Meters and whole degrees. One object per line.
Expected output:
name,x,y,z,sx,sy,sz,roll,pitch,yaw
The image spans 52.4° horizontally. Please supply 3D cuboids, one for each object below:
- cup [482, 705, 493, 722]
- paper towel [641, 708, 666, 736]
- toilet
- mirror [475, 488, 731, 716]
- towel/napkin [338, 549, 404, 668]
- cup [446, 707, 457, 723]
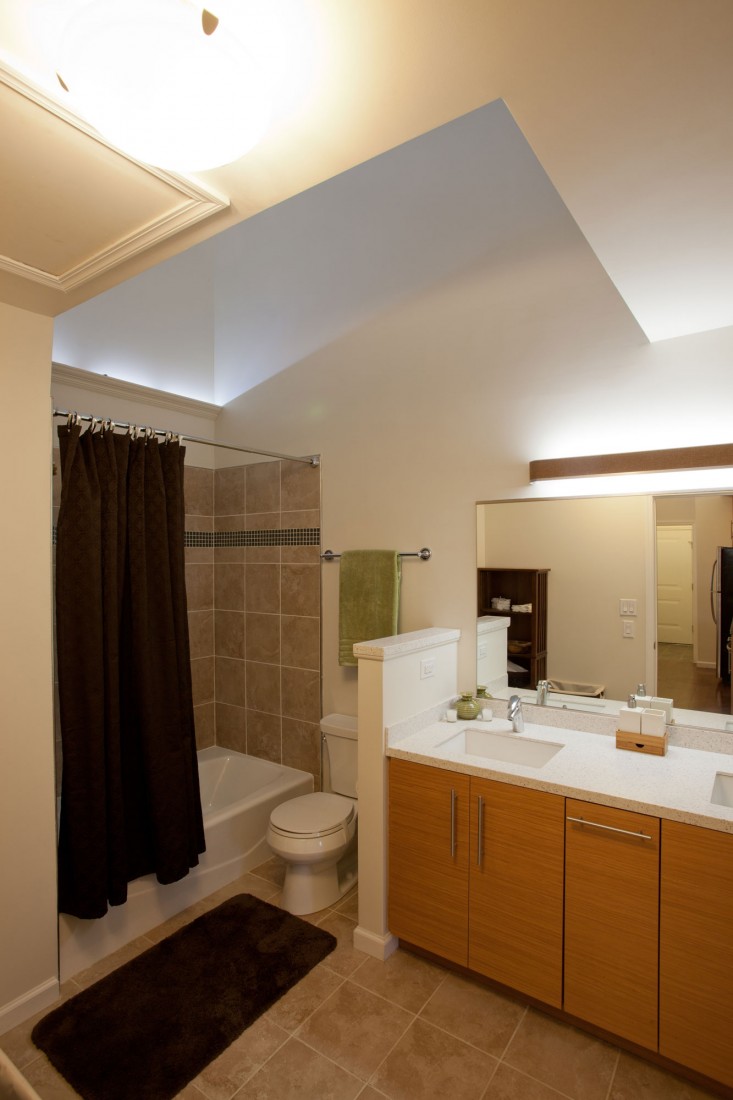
cup,0.443,0.603,2.727,0.034,0.040,0.037,0,-2,0
paper towel,0.899,0.549,2.375,0.062,0.104,0.063,5,-4,-32
toilet,-0.158,1.015,2.915,0.283,0.623,0.508,2,5,38
mirror,0.840,0.178,2.536,0.682,0.814,0.034,3,4,37
towel/napkin,-0.010,0.247,3.175,0.355,0.485,0.098,2,4,39
cup,0.317,0.617,2.782,0.032,0.029,0.035,-2,2,0
